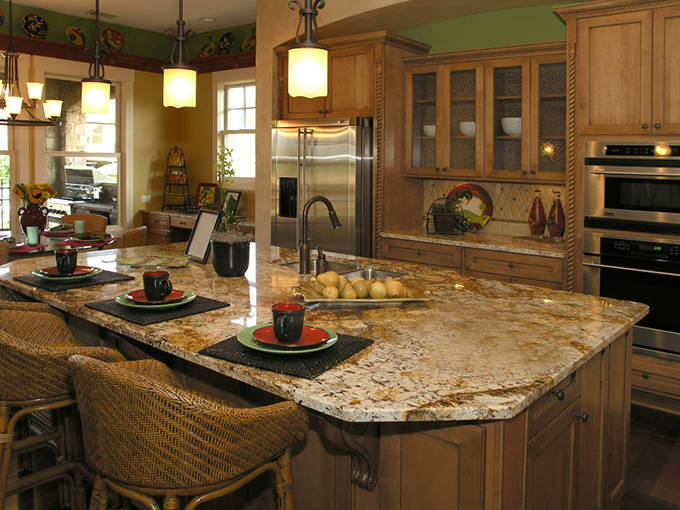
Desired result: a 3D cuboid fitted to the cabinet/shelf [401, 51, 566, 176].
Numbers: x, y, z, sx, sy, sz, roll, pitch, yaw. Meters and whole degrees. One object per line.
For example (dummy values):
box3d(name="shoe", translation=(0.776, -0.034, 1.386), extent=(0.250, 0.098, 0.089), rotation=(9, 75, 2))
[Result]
box3d(name="cabinet/shelf", translation=(1.307, -1.255, 4.627), extent=(1.473, 0.899, 0.382), rotation=(3, 5, 31))

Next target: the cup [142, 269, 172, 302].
box3d(name="cup", translation=(-0.780, 0.134, 2.224), extent=(0.101, 0.099, 0.146), rotation=(-1, 13, -21))

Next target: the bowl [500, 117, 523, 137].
box3d(name="bowl", translation=(1.474, -1.091, 4.548), extent=(0.190, 0.123, 0.179), rotation=(0, 6, 0))

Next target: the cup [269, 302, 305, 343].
box3d(name="cup", translation=(-0.174, 0.225, 1.786), extent=(0.102, 0.131, 0.103), rotation=(1, 12, 0))

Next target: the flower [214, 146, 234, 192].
box3d(name="flower", translation=(-1.492, -1.109, 6.766), extent=(0.259, 0.592, 1.246), rotation=(-2, 12, -12))

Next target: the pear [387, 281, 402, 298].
box3d(name="pear", translation=(0.230, 0.150, 2.328), extent=(0.063, 0.034, 0.075), rotation=(5, 15, 6))

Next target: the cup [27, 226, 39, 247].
box3d(name="cup", translation=(-2.709, -0.166, 4.622), extent=(0.104, 0.152, 0.295), rotation=(-6, 14, -30))

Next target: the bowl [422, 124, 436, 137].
box3d(name="bowl", translation=(0.844, -1.181, 5.013), extent=(0.130, 0.074, 0.119), rotation=(-1, 6, 0))

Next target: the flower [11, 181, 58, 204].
box3d(name="flower", translation=(-2.919, -0.591, 4.995), extent=(0.320, 0.188, 0.316), rotation=(9, 9, 40))

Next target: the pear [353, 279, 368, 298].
box3d(name="pear", translation=(0.090, 0.149, 2.345), extent=(0.063, 0.073, 0.044), rotation=(-3, -13, -25))

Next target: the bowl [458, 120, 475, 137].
box3d(name="bowl", translation=(1.151, -1.130, 4.749), extent=(0.159, 0.102, 0.147), rotation=(0, 5, 0))

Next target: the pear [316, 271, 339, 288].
box3d(name="pear", translation=(-0.054, 0.104, 2.391), extent=(0.078, 0.040, 0.074), rotation=(9, 16, 21))

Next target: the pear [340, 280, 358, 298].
box3d(name="pear", translation=(0.046, 0.157, 2.365), extent=(0.072, 0.085, 0.068), rotation=(-3, 1, -36))

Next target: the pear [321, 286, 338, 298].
box3d(name="pear", translation=(-0.046, 0.166, 2.336), extent=(0.061, 0.029, 0.056), rotation=(6, 29, 7))
